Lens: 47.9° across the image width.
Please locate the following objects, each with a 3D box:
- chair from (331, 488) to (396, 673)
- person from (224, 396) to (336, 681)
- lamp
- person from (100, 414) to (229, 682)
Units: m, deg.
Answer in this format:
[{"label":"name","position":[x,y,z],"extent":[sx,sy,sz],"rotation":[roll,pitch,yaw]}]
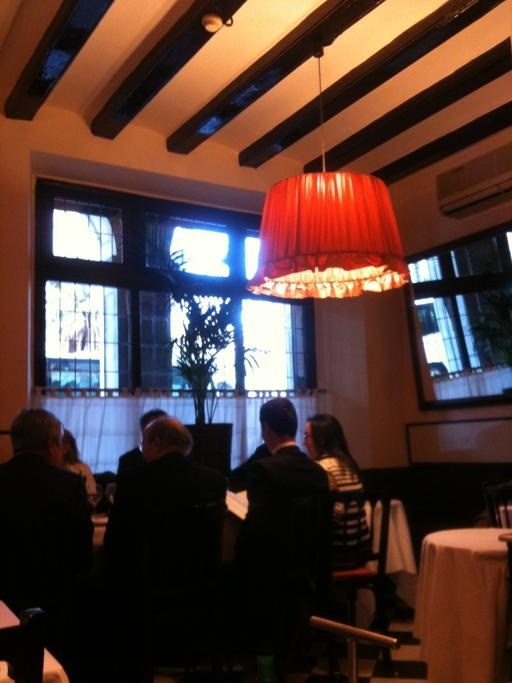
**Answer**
[{"label":"chair","position":[0.554,1.183,2.962],"extent":[0.230,0.628,0.275],"rotation":[-3,-19,17]},{"label":"person","position":[0.122,0.759,2.221],"extent":[0.348,1.083,0.511],"rotation":[-3,-7,9]},{"label":"lamp","position":[0.303,-0.804,2.410],"extent":[0.588,1.219,0.609],"rotation":[3,-5,-36]},{"label":"person","position":[-0.327,0.739,2.022],"extent":[0.448,0.923,0.302],"rotation":[-3,-7,4]}]
